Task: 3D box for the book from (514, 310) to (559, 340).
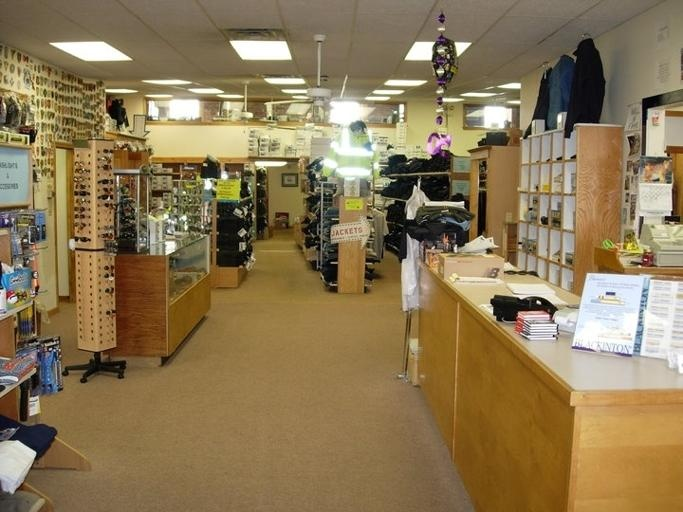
[{"bbox_3d":[1.060,0.369,2.855,0.222,0.117,0.190,1,10,2],"label":"book"}]
